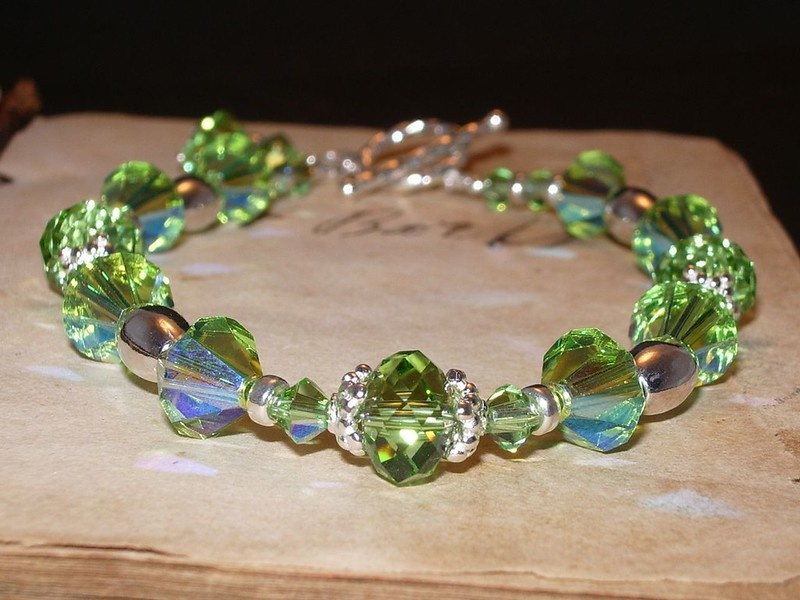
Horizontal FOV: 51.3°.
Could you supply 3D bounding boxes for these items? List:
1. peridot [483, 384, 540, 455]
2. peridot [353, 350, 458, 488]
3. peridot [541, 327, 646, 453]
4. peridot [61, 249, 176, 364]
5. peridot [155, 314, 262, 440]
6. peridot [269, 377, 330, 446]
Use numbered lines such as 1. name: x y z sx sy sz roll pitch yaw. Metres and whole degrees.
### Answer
1. peridot: 0.104 0.110 0.774 0.061 0.062 0.044 39 82 -5
2. peridot: -0.007 0.100 0.705 0.091 0.037 0.108 0 81 6
3. peridot: 0.199 0.099 0.819 0.104 0.051 0.098 -52 50 14
4. peridot: -0.313 -0.001 0.893 0.123 0.045 0.119 -8 65 -8
5. peridot: -0.188 0.076 0.822 0.098 0.064 0.107 -13 56 -9
6. peridot: -0.091 0.102 0.781 0.048 0.031 0.053 -36 63 -22
